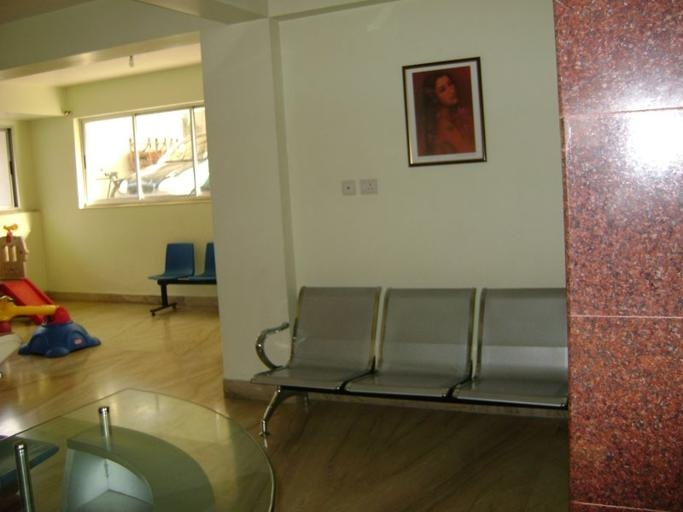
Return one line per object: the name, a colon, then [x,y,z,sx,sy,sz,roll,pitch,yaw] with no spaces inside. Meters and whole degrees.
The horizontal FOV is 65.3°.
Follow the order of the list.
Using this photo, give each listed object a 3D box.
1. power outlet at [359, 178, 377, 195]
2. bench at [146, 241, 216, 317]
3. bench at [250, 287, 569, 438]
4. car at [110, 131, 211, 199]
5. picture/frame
power outlet: [0.221,-0.563,4.286,0.128,0.114,0.019,3,10,16]
bench: [-2.304,0.316,7.898,1.285,0.987,0.641,1,9,26]
bench: [0.521,0.776,3.704,2.272,0.939,0.798,-3,7,28]
car: [-2.747,-1.334,8.490,1.048,0.714,1.641,2,6,21]
picture/frame: [0.808,-1.127,4.028,0.810,1.019,0.071,-3,9,22]
